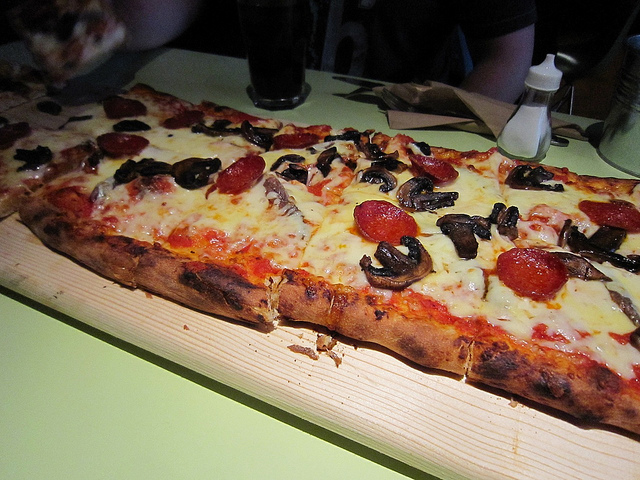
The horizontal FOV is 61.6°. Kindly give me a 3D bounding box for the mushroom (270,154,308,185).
[{"bbox_3d":[-0.244,-0.536,4.167,0.296,0.061,0.256,32,50,31],"label":"mushroom"}]

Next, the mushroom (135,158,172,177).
[{"bbox_3d":[-1.242,-0.561,3.980,0.204,0.045,0.181,24,32,13],"label":"mushroom"}]

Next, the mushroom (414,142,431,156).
[{"bbox_3d":[0.819,-0.741,4.337,0.127,0.031,0.122,36,40,24],"label":"mushroom"}]

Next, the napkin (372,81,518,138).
[{"bbox_3d":[1.072,-1.249,5.079,0.984,0.333,1.068,-27,51,-25],"label":"napkin"}]

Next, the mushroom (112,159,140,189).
[{"bbox_3d":[-1.430,-0.488,4.031,0.240,0.079,0.222,1,42,5],"label":"mushroom"}]

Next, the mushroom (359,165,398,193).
[{"bbox_3d":[0.464,-0.456,4.008,0.300,0.071,0.186,20,61,17],"label":"mushroom"}]

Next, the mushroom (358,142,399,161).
[{"bbox_3d":[0.463,-0.685,4.210,0.249,0.045,0.171,18,34,25],"label":"mushroom"}]

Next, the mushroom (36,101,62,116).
[{"bbox_3d":[-2.436,-1.189,4.844,0.229,0.045,0.150,23,43,15],"label":"mushroom"}]

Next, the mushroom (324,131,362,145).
[{"bbox_3d":[0.198,-0.833,4.458,0.208,0.042,0.185,-4,11,-34],"label":"mushroom"}]

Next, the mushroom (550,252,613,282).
[{"bbox_3d":[1.664,0.177,3.432,0.368,0.059,0.182,24,46,15],"label":"mushroom"}]

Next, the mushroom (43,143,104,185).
[{"bbox_3d":[-1.916,-0.602,4.209,0.427,0.153,0.491,0,42,1],"label":"mushroom"}]

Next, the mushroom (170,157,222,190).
[{"bbox_3d":[-0.925,-0.512,4.033,0.347,0.082,0.271,-28,51,-37],"label":"mushroom"}]
